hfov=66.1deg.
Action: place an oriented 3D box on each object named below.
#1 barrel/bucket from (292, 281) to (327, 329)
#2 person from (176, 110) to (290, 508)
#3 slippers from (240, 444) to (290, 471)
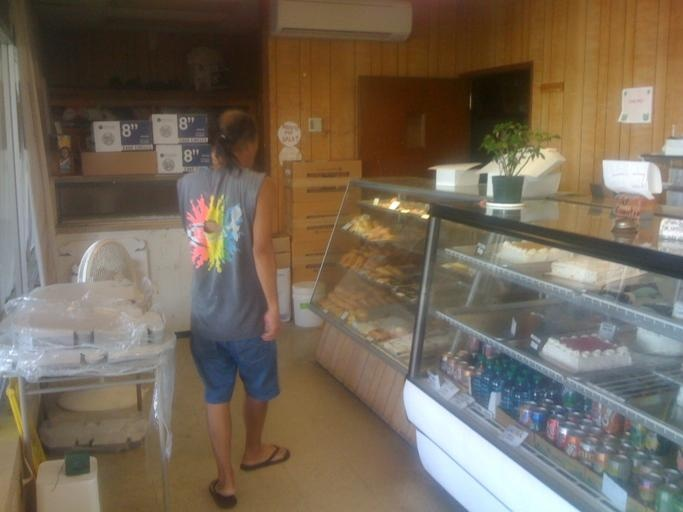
[{"bbox_3d":[-0.351,0.472,5.088,0.385,0.450,0.400,0,9,0],"label":"barrel/bucket"},{"bbox_3d":[-0.535,0.405,2.743,0.506,1.713,0.411,-4,14,-17],"label":"person"},{"bbox_3d":[-0.443,1.146,3.063,0.210,0.061,0.121,-10,13,-26],"label":"slippers"}]
